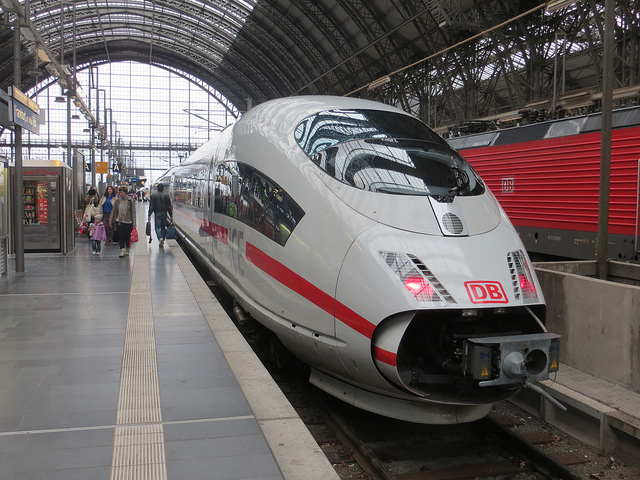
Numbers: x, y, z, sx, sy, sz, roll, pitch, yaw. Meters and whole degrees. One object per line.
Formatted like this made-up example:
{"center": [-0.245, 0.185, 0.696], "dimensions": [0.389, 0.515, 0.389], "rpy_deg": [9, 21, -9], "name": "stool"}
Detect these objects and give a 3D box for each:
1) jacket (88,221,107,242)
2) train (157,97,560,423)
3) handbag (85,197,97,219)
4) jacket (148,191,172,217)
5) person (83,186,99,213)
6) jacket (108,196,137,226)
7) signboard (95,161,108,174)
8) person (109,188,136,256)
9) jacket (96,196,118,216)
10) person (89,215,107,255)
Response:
{"center": [-7.165, -0.280, 14.015], "dimensions": [0.589, 0.675, 0.349], "rpy_deg": [11, -10, 0], "name": "jacket"}
{"center": [0.635, 0.008, 4.655], "dimensions": [3.368, 3.457, 1.507], "rpy_deg": [4, 6, 34], "name": "train"}
{"center": [-8.414, -1.154, 15.957], "dimensions": [0.328, 0.767, 0.990], "rpy_deg": [-2, 6, -28], "name": "handbag"}
{"center": [-5.327, -1.206, 14.497], "dimensions": [0.778, 0.800, 0.505], "rpy_deg": [1, 5, 3], "name": "jacket"}
{"center": [-8.768, -1.565, 16.666], "dimensions": [0.485, 0.823, 1.782], "rpy_deg": [-2, 6, -28], "name": "person"}
{"center": [-6.195, -0.905, 13.581], "dimensions": [0.986, 0.955, 0.500], "rpy_deg": [2, -7, -8], "name": "jacket"}
{"center": [-17.235, -5.653, 34.348], "dimensions": [0.828, 0.899, 2.621], "rpy_deg": [-2, 6, -26], "name": "signboard"}
{"center": [-5.987, -0.534, 13.286], "dimensions": [0.557, 2.051, 1.160], "rpy_deg": [-2, 6, -25], "name": "person"}
{"center": [-7.124, -1.115, 14.592], "dimensions": [0.778, 0.712, 0.418], "rpy_deg": [8, -3, -7], "name": "jacket"}
{"center": [-7.202, -0.190, 14.082], "dimensions": [0.441, 1.240, 1.481], "rpy_deg": [-2, 6, -28], "name": "person"}
